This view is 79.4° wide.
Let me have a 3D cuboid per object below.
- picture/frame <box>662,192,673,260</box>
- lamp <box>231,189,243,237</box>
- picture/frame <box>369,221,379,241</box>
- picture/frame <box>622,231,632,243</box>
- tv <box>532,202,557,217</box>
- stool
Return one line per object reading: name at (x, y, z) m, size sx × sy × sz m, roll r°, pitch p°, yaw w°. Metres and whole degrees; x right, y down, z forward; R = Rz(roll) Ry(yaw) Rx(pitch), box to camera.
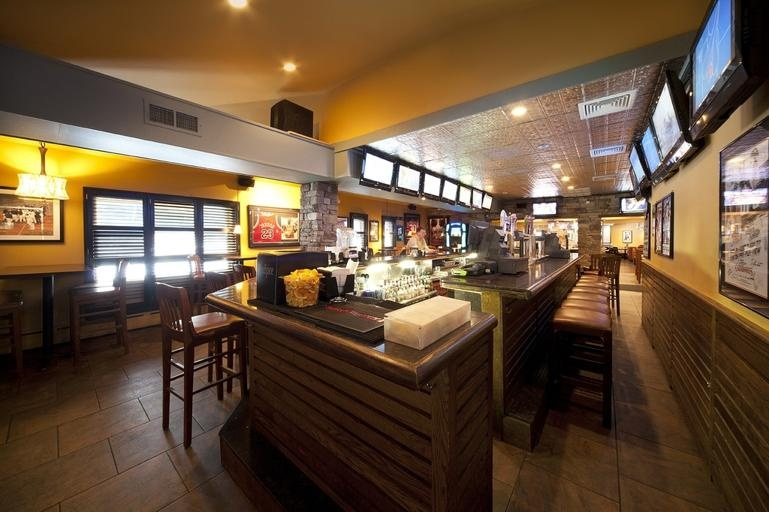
picture/frame at (4.128, -0.436, 6.765) m, size 0.040 × 0.980 × 0.993 m, roll 2°, pitch 3°, yaw 26°
lamp at (-3.211, -0.942, 10.135) m, size 0.193 × 0.825 × 0.421 m, roll -5°, pitch 3°, yaw -12°
picture/frame at (-0.331, -0.775, 13.961) m, size 0.034 × 0.490 × 0.487 m, roll -4°, pitch -23°, yaw 28°
picture/frame at (11.482, -0.928, 21.917) m, size 0.273 × 0.655 × 0.399 m, roll -5°, pitch 3°, yaw -28°
tv at (4.725, -1.373, 13.607) m, size 0.860 × 0.596 × 0.090 m, roll 3°, pitch -3°, yaw 41°
stool at (2.459, 1.407, 6.028) m, size 0.553 × 0.984 × 1.955 m, roll -1°, pitch 3°, yaw 25°
